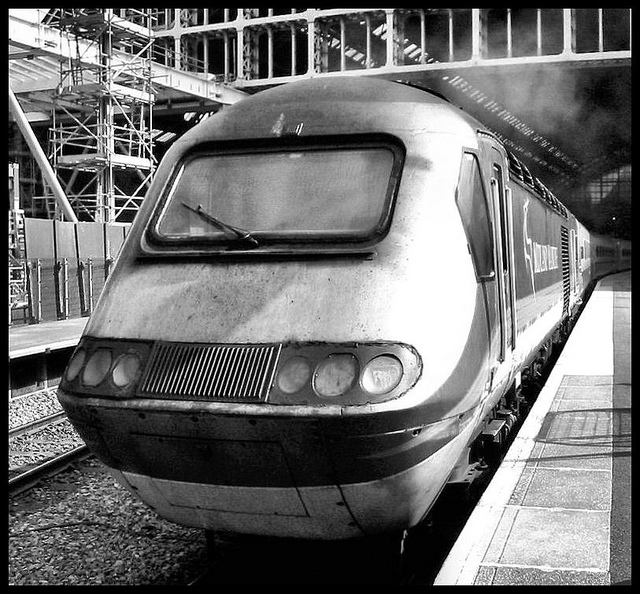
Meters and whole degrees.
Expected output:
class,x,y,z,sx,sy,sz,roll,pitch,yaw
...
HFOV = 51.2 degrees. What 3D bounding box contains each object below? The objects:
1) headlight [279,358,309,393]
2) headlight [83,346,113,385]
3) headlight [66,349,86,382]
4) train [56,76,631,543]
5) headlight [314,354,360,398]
class,x,y,z,sx,sy,sz,roll,pitch,yaw
headlight,-0.125,0.377,3.163,0.140,0.144,0.096,0,4,-2
headlight,-1.182,0.379,3.554,0.122,0.213,0.039,16,-17,10
headlight,-1.334,0.372,3.647,0.034,0.177,0.119,14,18,1
train,-0.073,-0.035,3.724,2.522,2.614,1.592,-1,4,-15
headlight,0.078,0.371,3.120,0.211,0.177,0.112,1,4,6
